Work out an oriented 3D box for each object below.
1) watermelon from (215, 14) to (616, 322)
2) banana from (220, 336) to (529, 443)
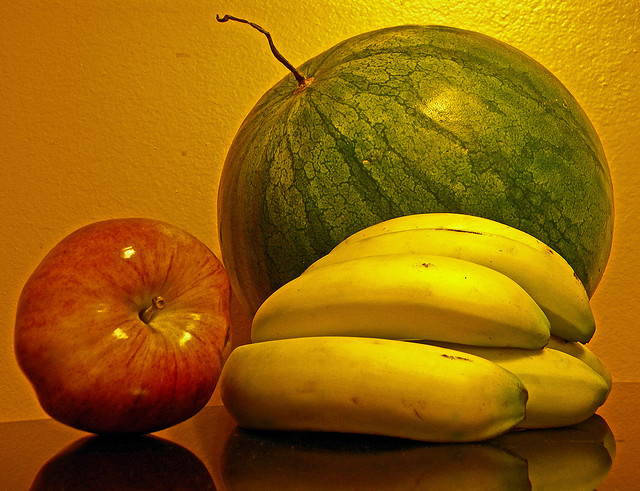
[{"bbox_3d":[0.144,-0.087,1.146,0.519,0.523,0.614,-4,16,-23],"label":"watermelon"},{"bbox_3d":[0.058,0.166,0.825,0.408,0.145,0.130,1,0,8],"label":"banana"}]
